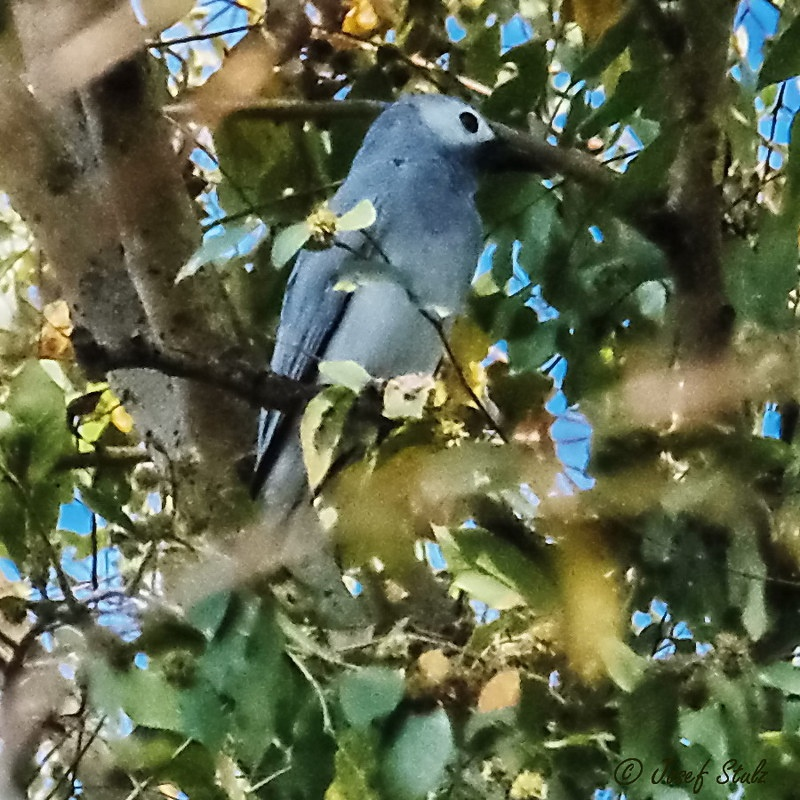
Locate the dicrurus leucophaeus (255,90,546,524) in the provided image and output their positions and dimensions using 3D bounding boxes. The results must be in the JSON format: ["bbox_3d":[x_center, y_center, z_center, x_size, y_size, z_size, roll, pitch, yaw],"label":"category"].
[{"bbox_3d":[-0.007,-0.099,1.911,0.249,0.412,0.185,-3,-24,18],"label":"dicrurus leucophaeus"}]
